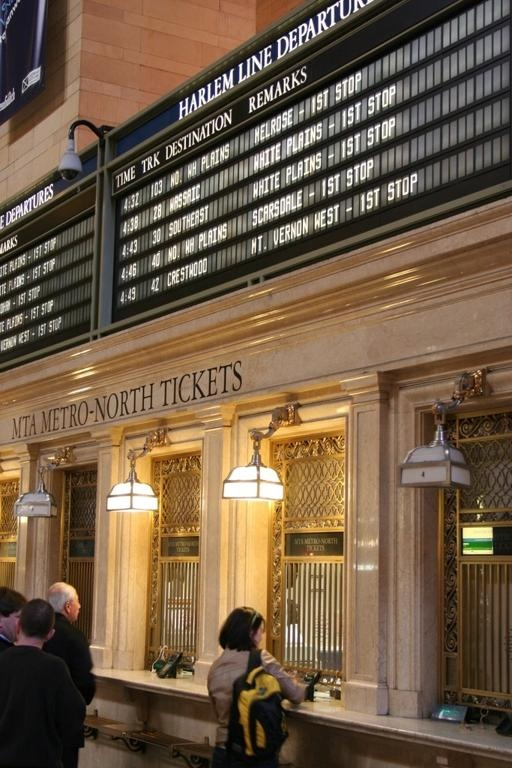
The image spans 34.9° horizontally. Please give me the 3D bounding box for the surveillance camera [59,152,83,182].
[{"bbox_3d":[-1.707,-2.003,7.495,0.179,0.321,0.395,5,-12,-15],"label":"surveillance camera"}]

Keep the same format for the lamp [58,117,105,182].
[{"bbox_3d":[-1.597,-2.208,7.625,0.526,0.510,0.184,-16,28,-42],"label":"lamp"}]

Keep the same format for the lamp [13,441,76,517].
[{"bbox_3d":[-1.960,0.916,7.643,0.379,0.753,0.358,-4,-22,19],"label":"lamp"}]

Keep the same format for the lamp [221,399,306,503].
[{"bbox_3d":[0.072,0.454,5.414,0.504,0.907,0.439,16,-22,-37],"label":"lamp"}]
